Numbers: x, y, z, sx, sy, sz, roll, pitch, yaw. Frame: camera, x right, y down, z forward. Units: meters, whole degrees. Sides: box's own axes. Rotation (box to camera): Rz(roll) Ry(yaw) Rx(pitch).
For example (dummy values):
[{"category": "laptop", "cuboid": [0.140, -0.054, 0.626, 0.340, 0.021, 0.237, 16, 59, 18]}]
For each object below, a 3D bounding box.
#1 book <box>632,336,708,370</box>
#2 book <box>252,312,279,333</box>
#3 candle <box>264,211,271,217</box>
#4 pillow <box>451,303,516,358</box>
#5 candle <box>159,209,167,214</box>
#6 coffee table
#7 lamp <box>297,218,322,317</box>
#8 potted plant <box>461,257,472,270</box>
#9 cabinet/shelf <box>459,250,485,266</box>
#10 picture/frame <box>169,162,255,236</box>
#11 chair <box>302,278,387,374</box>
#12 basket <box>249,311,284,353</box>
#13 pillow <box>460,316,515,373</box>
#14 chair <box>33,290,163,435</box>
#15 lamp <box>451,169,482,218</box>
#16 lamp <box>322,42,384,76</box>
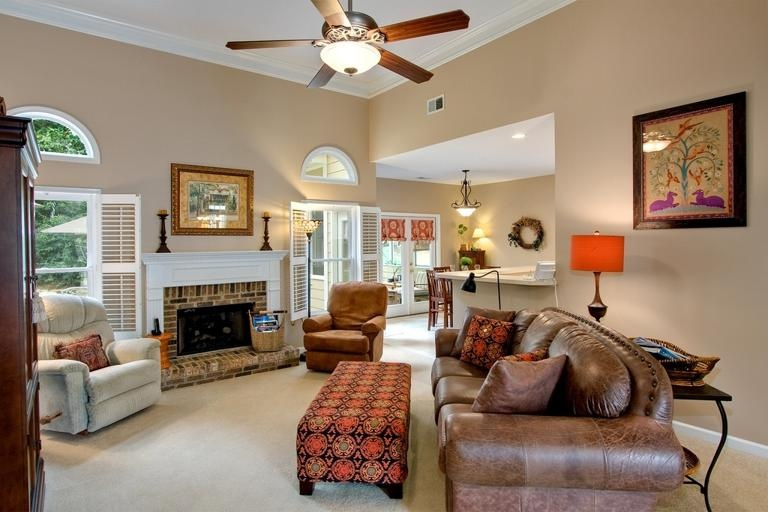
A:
[{"category": "book", "cuboid": [2.468, 0.848, 4.506, 0.426, 0.125, 0.371, 3, -1, 30]}, {"category": "book", "cuboid": [-1.631, 0.904, 7.125, 0.351, 0.240, 0.263, -3, 3, -19]}, {"category": "candle", "cuboid": [-1.654, -0.591, 7.386, 0.062, 0.088, 0.131, 0, 3, 27]}, {"category": "pillow", "cuboid": [1.114, 0.851, 5.674, 0.209, 0.547, 0.556, 23, -6, -18]}, {"category": "candle", "cuboid": [-2.825, -0.571, 6.649, 0.068, 0.040, 0.067, -2, -3, 15]}, {"category": "coffee table", "cuboid": [-0.180, 1.587, 5.304, 1.005, 0.571, 1.821, 0, 7, 7]}, {"category": "lamp", "cuboid": [-1.095, 0.267, 7.643, 0.402, 1.545, 0.378, -1, -1, 20]}, {"category": "potted plant", "cuboid": [1.737, 0.154, 10.759, 0.261, 0.244, 0.253, 1, -7, -10]}, {"category": "cabinet/shelf", "cuboid": [1.905, 0.011, 11.385, 0.409, 0.576, 0.396, -1, 2, -38]}, {"category": "picture/frame", "cuboid": [-2.361, -0.763, 6.985, 1.112, 0.962, 0.077, 1, -4, -38]}, {"category": "chair", "cuboid": [-0.503, 0.949, 7.090, 1.060, 1.028, 1.200, 0, 4, 6]}, {"category": "basket", "cuboid": [-1.604, 1.043, 7.338, 0.561, 0.575, 0.507, -2, 3, -34]}, {"category": "pillow", "cuboid": [1.065, 0.903, 5.344, 0.188, 0.493, 0.505, 26, -18, -37]}, {"category": "chair", "cuboid": [-3.157, 1.095, 5.603, 1.101, 1.289, 1.114, 3, 7, 21]}, {"category": "lamp", "cuboid": [1.584, -1.203, 10.191, 0.592, 0.894, 0.556, 0, 8, 12]}, {"category": "lamp", "cuboid": [-0.304, -1.738, 4.766, 0.526, 0.181, 0.511, 7, 0, -6]}]
